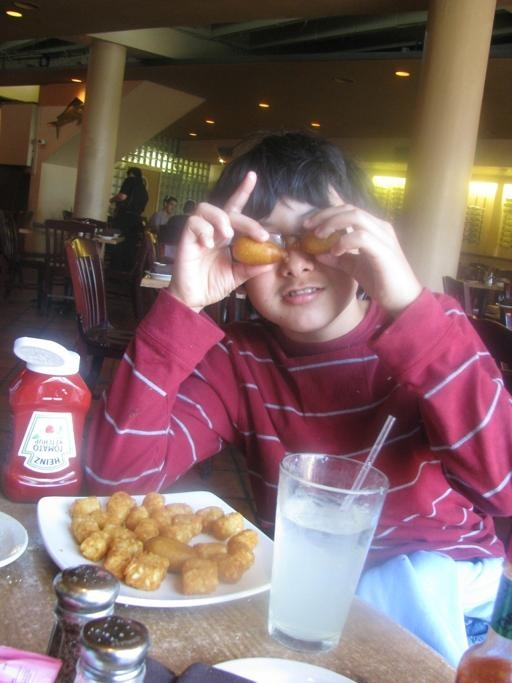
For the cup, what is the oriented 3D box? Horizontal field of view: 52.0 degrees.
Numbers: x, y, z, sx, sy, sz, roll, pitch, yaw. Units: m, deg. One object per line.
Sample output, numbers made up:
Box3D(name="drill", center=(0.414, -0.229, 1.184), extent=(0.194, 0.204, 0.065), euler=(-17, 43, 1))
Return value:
Box3D(name="cup", center=(0.062, 0.191, 0.496), extent=(0.097, 0.161, 0.107), euler=(12, 13, 21))
